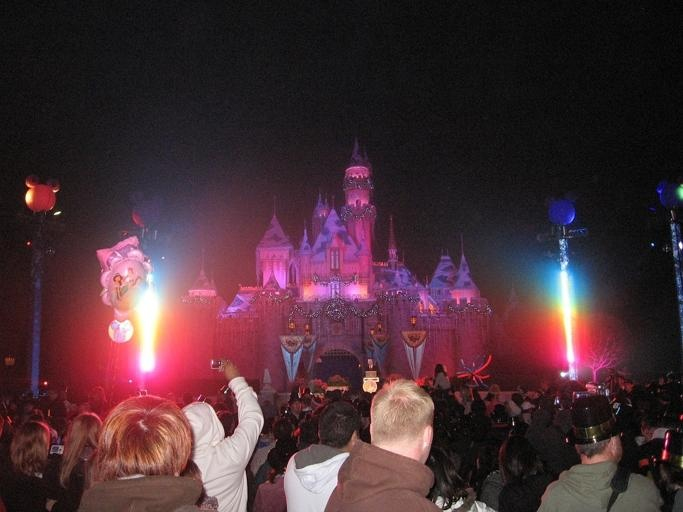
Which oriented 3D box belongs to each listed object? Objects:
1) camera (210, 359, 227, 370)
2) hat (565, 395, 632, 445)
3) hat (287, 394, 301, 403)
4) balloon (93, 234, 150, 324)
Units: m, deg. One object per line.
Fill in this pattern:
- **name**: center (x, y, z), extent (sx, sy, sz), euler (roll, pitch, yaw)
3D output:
- **camera**: center (-1.043, 0.922, 5.010), extent (0.142, 0.106, 0.089), euler (4, -7, -12)
- **hat**: center (1.972, 1.285, 4.699), extent (0.416, 0.290, 0.457), euler (-16, -6, 35)
- **hat**: center (-0.979, 2.971, 12.318), extent (0.251, 0.179, 0.349), euler (0, -13, 3)
- **balloon**: center (-4.084, 0.243, 11.061), extent (0.912, 1.544, 1.138), euler (4, -14, -19)
